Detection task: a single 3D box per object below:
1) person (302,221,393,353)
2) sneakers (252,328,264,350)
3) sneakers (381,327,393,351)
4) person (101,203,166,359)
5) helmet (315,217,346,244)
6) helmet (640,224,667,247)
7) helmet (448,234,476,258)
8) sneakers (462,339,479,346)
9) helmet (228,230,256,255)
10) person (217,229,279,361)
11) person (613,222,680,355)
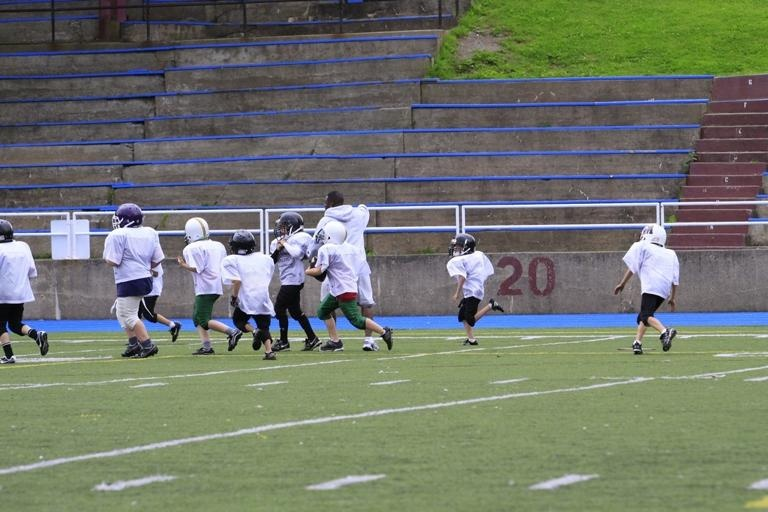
[{"bbox_3d":[-0.808,0.568,35.810,1.566,2.673,0.774,-1,2,-1],"label":"person"},{"bbox_3d":[-2.589,1.649,35.198,0.228,0.454,0.213,2,33,-22],"label":"sneakers"},{"bbox_3d":[0.088,1.642,35.623,0.319,0.459,0.196,-10,15,4],"label":"sneakers"},{"bbox_3d":[-5.100,0.454,35.320,1.053,3.098,0.752,-1,2,7],"label":"person"},{"bbox_3d":[-1.084,-0.551,35.925,0.675,0.443,0.480,26,17,25],"label":"helmet"},{"bbox_3d":[5.707,-0.476,35.804,0.599,0.409,0.437,14,0,34],"label":"helmet"},{"bbox_3d":[1.654,-0.285,37.102,0.637,0.356,0.466,4,4,18],"label":"helmet"},{"bbox_3d":[1.837,1.764,36.519,0.356,0.105,0.112,2,3,16],"label":"sneakers"},{"bbox_3d":[-2.916,-0.362,35.604,0.509,0.465,0.563,-9,27,-25],"label":"helmet"},{"bbox_3d":[-2.725,0.732,35.393,1.058,2.584,1.164,-2,2,-31],"label":"person"},{"bbox_3d":[5.445,0.618,35.434,1.160,2.597,1.293,-1,2,6],"label":"person"}]
